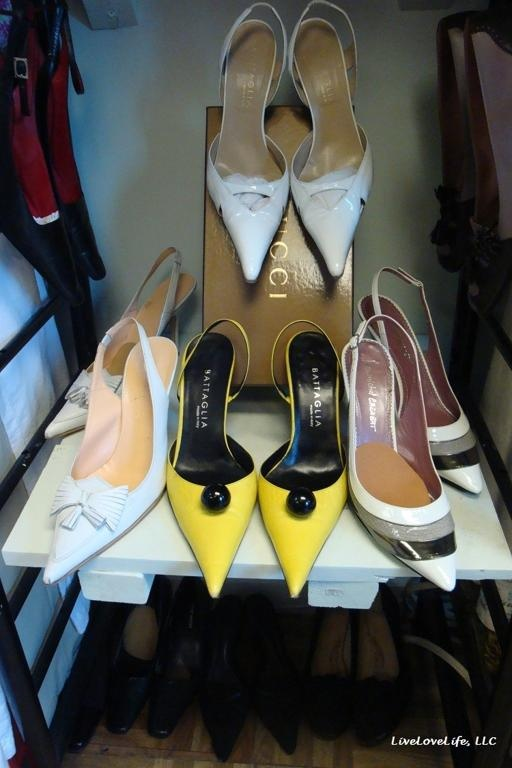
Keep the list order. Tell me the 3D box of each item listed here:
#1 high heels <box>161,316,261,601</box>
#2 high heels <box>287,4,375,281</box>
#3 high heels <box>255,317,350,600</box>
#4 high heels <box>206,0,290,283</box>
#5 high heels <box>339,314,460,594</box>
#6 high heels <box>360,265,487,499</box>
[{"bbox_3d":[-0.068,0.022,0.719,0.089,0.077,0.481,1,58,-6],"label":"high heels"},{"bbox_3d":[0.113,-0.379,0.791,0.092,0.545,0.071,-1,-1,4],"label":"high heels"},{"bbox_3d":[0.065,0.032,0.711,0.080,0.068,0.454,-1,55,7],"label":"high heels"},{"bbox_3d":[-0.013,-0.393,0.805,0.100,0.532,0.081,0,0,1],"label":"high heels"},{"bbox_3d":[0.175,0.093,0.684,0.087,0.090,0.473,-2,59,5],"label":"high heels"},{"bbox_3d":[0.228,-0.086,0.795,0.095,0.088,0.486,-8,70,-3],"label":"high heels"}]
